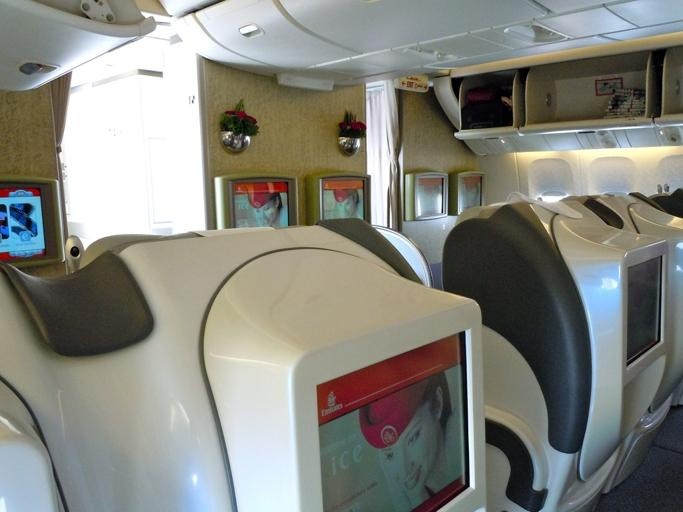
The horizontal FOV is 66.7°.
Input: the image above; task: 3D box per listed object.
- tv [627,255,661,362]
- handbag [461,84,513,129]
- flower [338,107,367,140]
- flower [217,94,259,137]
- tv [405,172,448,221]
[{"bbox_3d":[0.951,0.159,1.644,0.014,0.287,0.262,5,18,42],"label":"tv"},{"bbox_3d":[1.821,-1.758,6.369,0.546,0.593,0.567,3,22,30],"label":"handbag"},{"bbox_3d":[0.089,-1.188,4.811,0.238,0.301,0.252,0,1,-26],"label":"flower"},{"bbox_3d":[-0.758,-1.042,3.954,0.185,0.259,0.307,4,11,40],"label":"flower"},{"bbox_3d":[0.989,-0.719,6.186,0.091,0.422,0.545,5,9,42],"label":"tv"}]
